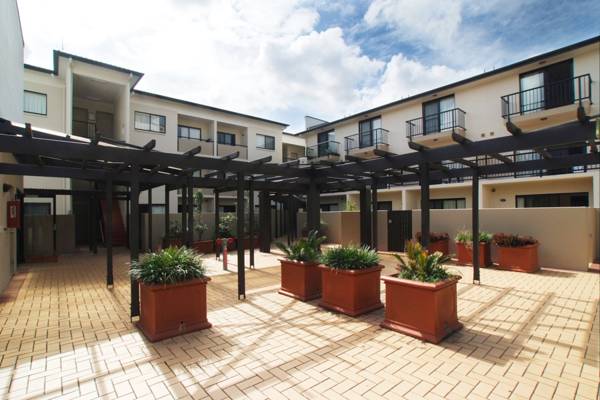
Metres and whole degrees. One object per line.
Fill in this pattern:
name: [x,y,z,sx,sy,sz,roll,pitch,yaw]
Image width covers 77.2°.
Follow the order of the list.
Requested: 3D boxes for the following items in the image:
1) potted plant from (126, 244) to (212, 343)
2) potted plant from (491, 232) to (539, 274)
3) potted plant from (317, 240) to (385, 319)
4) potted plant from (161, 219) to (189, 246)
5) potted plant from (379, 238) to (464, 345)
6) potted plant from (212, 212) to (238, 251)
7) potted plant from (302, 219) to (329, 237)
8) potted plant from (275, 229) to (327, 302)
potted plant: [-3.479,2.429,9.888,1.927,1.929,2.003,0,1,42]
potted plant: [8.149,1.996,14.153,1.349,1.282,1.054,-2,0,44]
potted plant: [1.440,2.222,10.939,1.826,1.785,1.724,1,-1,-43]
potted plant: [-6.040,1.726,18.023,0.868,1.041,0.844,9,-8,-28]
potted plant: [3.184,2.264,10.011,1.529,2.251,1.769,11,-20,-19]
potted plant: [-3.813,1.590,19.320,1.034,1.678,1.989,-4,-2,-7]
potted plant: [0.838,1.552,20.638,1.272,1.214,0.927,2,-7,1]
potted plant: [0.391,1.969,11.801,2.055,2.158,1.704,-3,-5,44]
